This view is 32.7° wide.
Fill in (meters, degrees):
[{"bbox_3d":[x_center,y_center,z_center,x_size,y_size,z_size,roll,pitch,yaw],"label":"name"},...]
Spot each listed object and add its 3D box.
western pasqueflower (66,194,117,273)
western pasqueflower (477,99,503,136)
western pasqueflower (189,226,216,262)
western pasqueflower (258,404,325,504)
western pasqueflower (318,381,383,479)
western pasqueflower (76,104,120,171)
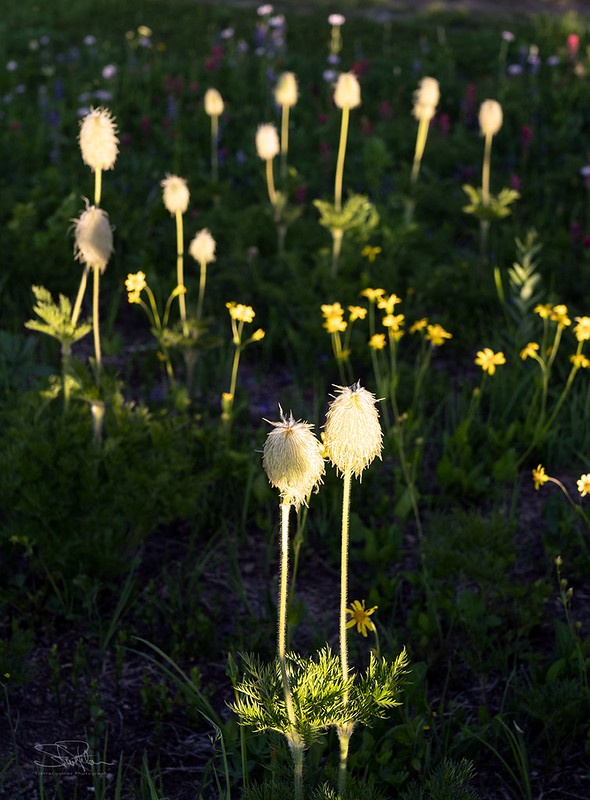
[{"bbox_3d":[-0.675,-0.565,3.441,0.106,0.254,0.157,-5,25,-40],"label":"western pasqueflower"},{"bbox_3d":[0.996,-1.456,5.205,0.109,0.197,0.289,7,20,8],"label":"western pasqueflower"},{"bbox_3d":[-0.400,-0.665,4.367,0.097,0.199,0.231,1,21,-9],"label":"western pasqueflower"},{"bbox_3d":[-0.005,0.168,2.603,0.158,0.253,0.155,10,-21,-36],"label":"western pasqueflower"},{"bbox_3d":[0.150,0.093,2.680,0.156,0.290,0.208,6,21,4],"label":"western pasqueflower"},{"bbox_3d":[-0.673,-0.890,3.438,0.145,0.225,0.107,2,10,7],"label":"western pasqueflower"}]
